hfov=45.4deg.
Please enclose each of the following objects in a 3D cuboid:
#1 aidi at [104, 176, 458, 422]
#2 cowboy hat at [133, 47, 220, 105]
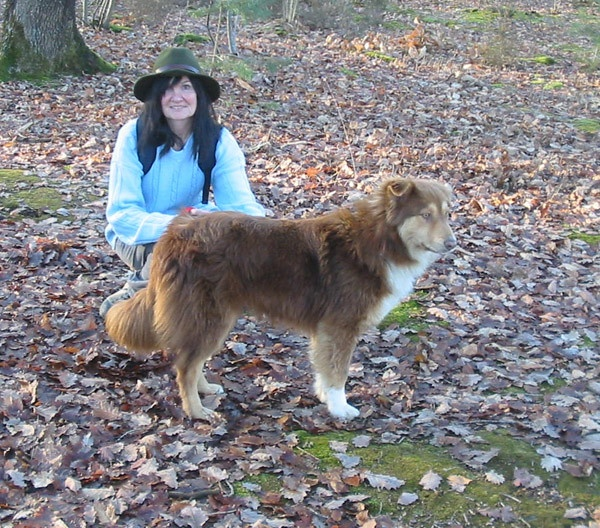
[{"bbox_3d":[-0.075,0.391,6.527,3.786,1.746,1.203,-5,-12,31],"label":"aidi"},{"bbox_3d":[-1.112,-1.770,6.542,0.818,0.229,0.752,-3,-7,-29],"label":"cowboy hat"}]
